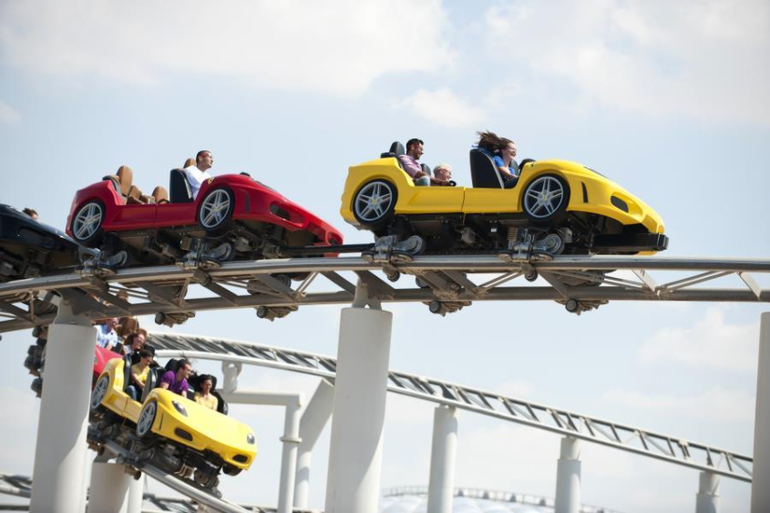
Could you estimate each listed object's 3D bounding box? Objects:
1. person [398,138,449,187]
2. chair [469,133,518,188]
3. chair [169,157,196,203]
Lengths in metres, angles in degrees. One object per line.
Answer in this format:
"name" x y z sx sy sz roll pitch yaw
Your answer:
"person" 0.708 -1.755 24.640 0.810 0.945 0.650 9 -2 22
"chair" 2.056 -1.740 24.137 0.906 1.193 0.770 4 -22 5
"chair" -4.019 -1.406 25.636 0.487 0.758 0.333 9 -22 -9
